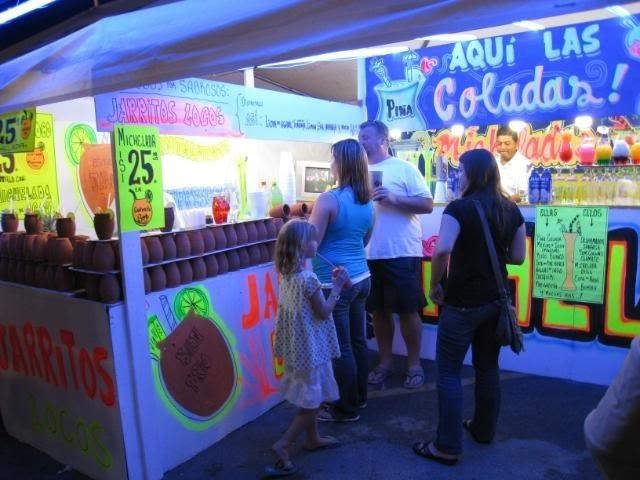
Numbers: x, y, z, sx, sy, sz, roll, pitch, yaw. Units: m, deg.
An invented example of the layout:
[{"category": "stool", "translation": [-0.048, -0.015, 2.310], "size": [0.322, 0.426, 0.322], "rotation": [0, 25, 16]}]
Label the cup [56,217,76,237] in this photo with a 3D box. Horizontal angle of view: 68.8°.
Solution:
[{"category": "cup", "translation": [-1.659, -0.089, 3.115], "size": [0.109, 0.160, 0.115], "rotation": [0, 2, 0]}]

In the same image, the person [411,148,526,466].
[{"category": "person", "translation": [0.947, 0.408, 2.949], "size": [0.738, 1.923, 0.371], "rotation": [-4, 11, -14]}]

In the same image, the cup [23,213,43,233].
[{"category": "cup", "translation": [-1.986, -0.116, 3.232], "size": [0.113, 0.171, 0.121], "rotation": [-1, 10, 0]}]

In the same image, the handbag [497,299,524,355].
[{"category": "handbag", "translation": [1.199, 0.559, 2.927], "size": [0.116, 0.296, 0.211], "rotation": [-14, -37, 40]}]

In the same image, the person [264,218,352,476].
[{"category": "person", "translation": [-0.067, 0.645, 2.917], "size": [0.508, 1.548, 0.491], "rotation": [-1, 11, 4]}]

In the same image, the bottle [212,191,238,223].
[{"category": "bottle", "translation": [-0.735, -0.249, 3.589], "size": [0.244, 0.280, 0.459], "rotation": [1, -5, -12]}]

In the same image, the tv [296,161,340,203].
[{"category": "tv", "translation": [-0.021, -0.664, 4.585], "size": [0.374, 0.401, 0.241], "rotation": [2, 43, -8]}]

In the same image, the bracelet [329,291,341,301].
[{"category": "bracelet", "translation": [0.092, 0.350, 2.908], "size": [0.031, 0.051, 0.059], "rotation": [-1, 5, -17]}]

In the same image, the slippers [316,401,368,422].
[{"category": "slippers", "translation": [0.158, 1.281, 3.458], "size": [0.285, 0.147, 0.123], "rotation": [2, -1, 5]}]

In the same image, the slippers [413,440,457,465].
[{"category": "slippers", "translation": [0.728, 1.352, 2.973], "size": [0.103, 0.076, 0.225], "rotation": [-6, 14, -40]}]

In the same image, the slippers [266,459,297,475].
[{"category": "slippers", "translation": [-0.236, 1.367, 2.882], "size": [0.159, 0.077, 0.098], "rotation": [-1, 11, -12]}]

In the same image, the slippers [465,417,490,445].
[{"category": "slippers", "translation": [1.070, 1.291, 3.182], "size": [0.056, 0.084, 0.196], "rotation": [-2, 16, -8]}]

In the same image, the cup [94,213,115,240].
[{"category": "cup", "translation": [-1.272, -0.073, 2.806], "size": [0.127, 0.184, 0.140], "rotation": [0, -5, 0]}]

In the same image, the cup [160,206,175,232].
[{"category": "cup", "translation": [-0.985, -0.129, 3.019], "size": [0.083, 0.160, 0.192], "rotation": [-6, 12, -21]}]
